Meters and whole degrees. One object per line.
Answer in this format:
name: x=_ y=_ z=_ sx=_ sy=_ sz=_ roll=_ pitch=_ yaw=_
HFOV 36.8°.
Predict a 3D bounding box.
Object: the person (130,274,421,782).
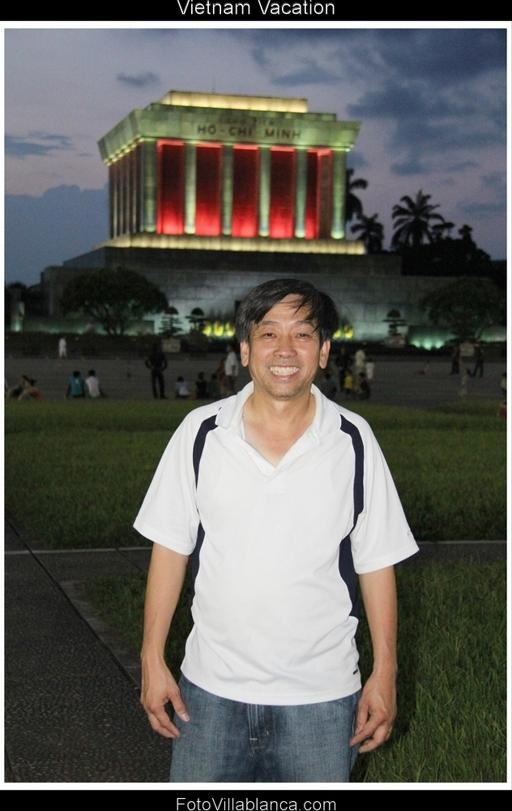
person: x=0.048 y=0.358 z=2.075 sx=0.765 sy=1.380 sz=0.566 roll=-4 pitch=9 yaw=-9
